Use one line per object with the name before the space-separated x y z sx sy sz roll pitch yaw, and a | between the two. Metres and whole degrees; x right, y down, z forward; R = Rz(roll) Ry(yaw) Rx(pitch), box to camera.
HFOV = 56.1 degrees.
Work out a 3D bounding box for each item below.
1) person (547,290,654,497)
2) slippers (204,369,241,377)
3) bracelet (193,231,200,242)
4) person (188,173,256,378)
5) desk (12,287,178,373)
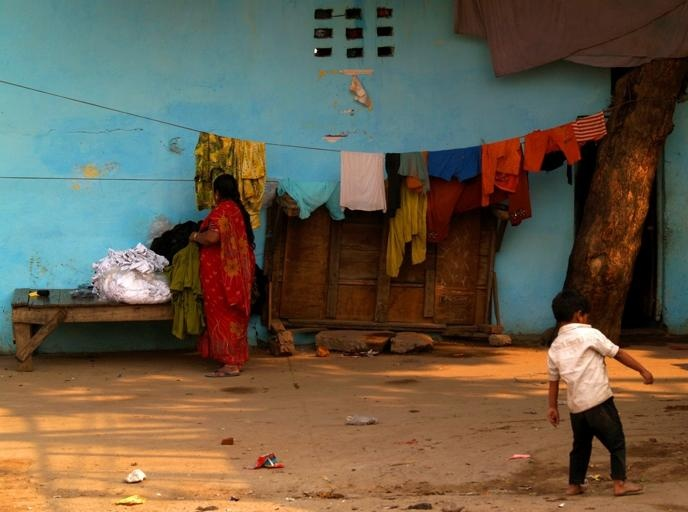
person | 1.628 0.881 4.196 0.648 1.267 0.440 4 6 30
slippers | -1.358 1.309 7.186 0.310 0.056 0.125 2 -5 -6
bracelet | -1.637 -0.207 7.172 0.053 0.100 0.160 -1 5 -26
person | -1.313 0.219 7.276 0.690 2.236 0.480 -2 6 -27
desk | -3.002 0.852 7.493 1.457 0.795 0.749 -1 5 -20
